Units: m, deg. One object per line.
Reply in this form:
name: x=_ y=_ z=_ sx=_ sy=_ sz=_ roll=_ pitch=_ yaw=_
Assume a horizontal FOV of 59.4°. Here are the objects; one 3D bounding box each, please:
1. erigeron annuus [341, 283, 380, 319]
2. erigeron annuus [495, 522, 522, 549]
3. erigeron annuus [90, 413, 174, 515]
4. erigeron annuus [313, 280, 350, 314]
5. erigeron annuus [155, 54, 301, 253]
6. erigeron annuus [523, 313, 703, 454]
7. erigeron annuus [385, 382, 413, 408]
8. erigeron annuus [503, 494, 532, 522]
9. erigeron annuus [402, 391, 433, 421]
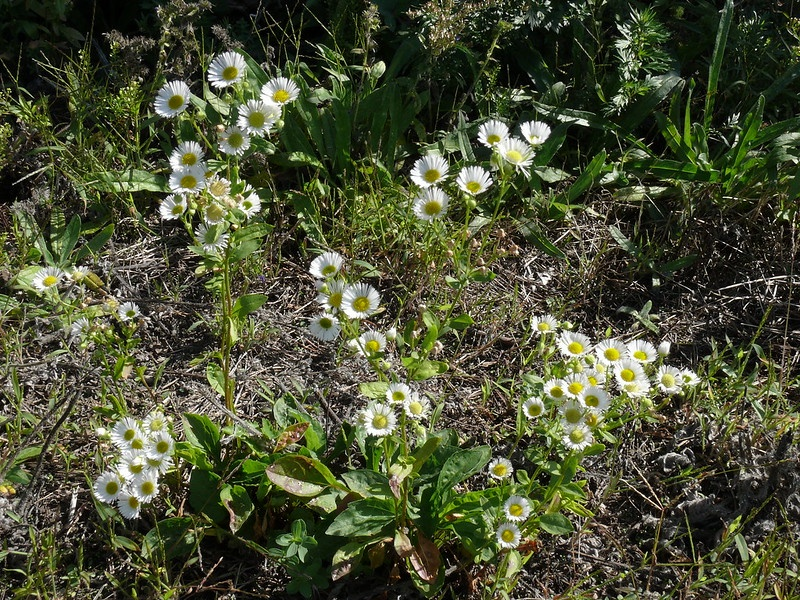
erigeron annuus: x=-0.138 y=0.004 z=2.339 sx=0.126 sy=0.084 sz=0.121 roll=-11 pitch=61 yaw=-6
erigeron annuus: x=0.347 y=0.765 z=2.229 sx=0.085 sy=0.141 sz=0.069 roll=-7 pitch=57 yaw=-4
erigeron annuus: x=-0.855 y=0.553 z=2.268 sx=0.304 sy=0.100 sz=0.284 roll=-48 pitch=62 yaw=7
erigeron annuus: x=-0.221 y=-0.015 z=2.367 sx=0.087 sy=0.040 sz=0.113 roll=3 pitch=65 yaw=11
erigeron annuus: x=-0.681 y=-0.605 z=2.710 sx=0.549 sy=0.241 sz=1.017 roll=7 pitch=73 yaw=-12
erigeron annuus: x=0.716 y=0.262 z=2.438 sx=0.479 sy=0.196 sz=0.563 roll=-13 pitch=46 yaw=-9
erigeron annuus: x=-0.002 y=0.323 z=2.273 sx=0.080 sy=0.147 sz=0.088 roll=3 pitch=57 yaw=2
erigeron annuus: x=0.375 y=0.672 z=2.240 sx=0.097 sy=0.066 sz=0.070 roll=-3 pitch=59 yaw=-2
erigeron annuus: x=0.043 y=0.341 z=2.269 sx=0.083 sy=0.037 sz=0.100 roll=-5 pitch=61 yaw=-25
